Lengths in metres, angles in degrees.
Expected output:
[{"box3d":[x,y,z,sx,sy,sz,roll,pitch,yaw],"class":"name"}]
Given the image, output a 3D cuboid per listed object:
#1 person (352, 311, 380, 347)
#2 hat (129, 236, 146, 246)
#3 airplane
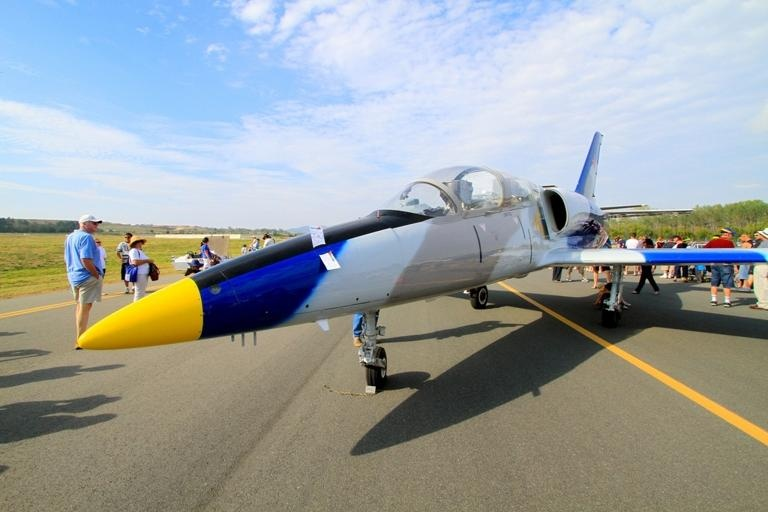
[{"box3d":[-0.248,1.138,7.159,0.464,0.878,0.233,21,56,15],"class":"person"},{"box3d":[-6.930,-0.423,11.443,0.409,0.130,0.425,-11,-11,-42],"class":"hat"},{"box3d":[0.581,0.229,6.667,9.157,3.445,1.560,-3,5,-25],"class":"airplane"}]
